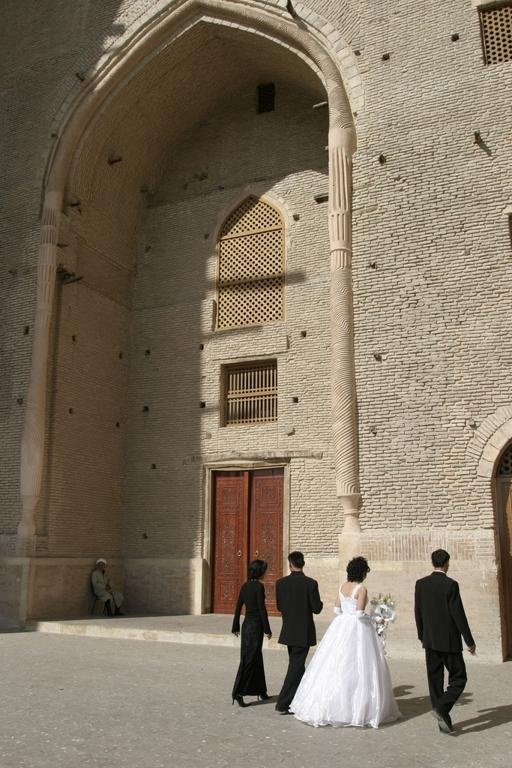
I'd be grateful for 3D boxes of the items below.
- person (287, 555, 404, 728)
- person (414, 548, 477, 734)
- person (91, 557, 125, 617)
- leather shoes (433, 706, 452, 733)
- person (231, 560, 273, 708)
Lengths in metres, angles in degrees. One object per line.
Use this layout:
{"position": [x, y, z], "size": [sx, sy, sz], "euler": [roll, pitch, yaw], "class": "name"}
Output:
{"position": [0.537, 1.611, 4.610], "size": [0.655, 0.994, 0.316], "euler": [-2, -13, 9], "class": "person"}
{"position": [1.151, 1.550, 4.458], "size": [0.333, 1.047, 0.554], "euler": [-2, -13, 12], "class": "person"}
{"position": [-2.416, 3.264, 11.755], "size": [0.516, 0.866, 0.502], "euler": [2, -13, -7], "class": "person"}
{"position": [1.091, 1.962, 4.284], "size": [0.086, 0.057, 0.172], "euler": [2, 24, -21], "class": "leather shoes"}
{"position": [-0.033, 1.754, 5.159], "size": [0.262, 0.989, 0.603], "euler": [1, -13, 0], "class": "person"}
